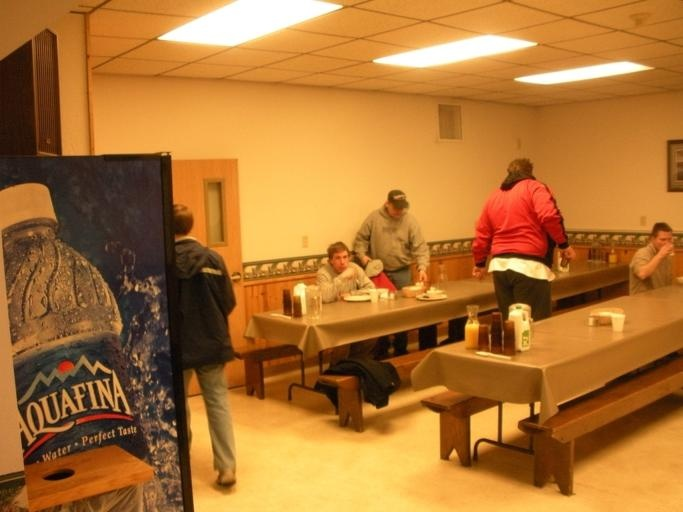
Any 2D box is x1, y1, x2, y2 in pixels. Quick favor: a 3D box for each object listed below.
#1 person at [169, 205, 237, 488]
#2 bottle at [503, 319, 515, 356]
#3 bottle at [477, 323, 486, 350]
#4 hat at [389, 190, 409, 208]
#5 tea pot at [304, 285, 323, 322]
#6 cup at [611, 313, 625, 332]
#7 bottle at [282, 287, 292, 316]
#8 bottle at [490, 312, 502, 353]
[{"bbox_3d":[-0.917,0.643,3.941,0.402,2.001,0.323,-6,6,-20],"label":"person"},{"bbox_3d":[1.081,0.533,3.613,0.081,0.212,0.079,-3,6,0],"label":"bottle"},{"bbox_3d":[0.949,0.535,3.763,0.071,0.160,0.161,-2,6,15],"label":"bottle"},{"bbox_3d":[0.691,-0.683,6.903,0.180,0.128,0.250,-3,12,-31],"label":"hat"},{"bbox_3d":[-0.249,0.411,4.982,0.150,0.261,0.326,-4,6,-4],"label":"tea pot"},{"bbox_3d":[2.007,0.492,4.142,0.125,0.129,0.119,5,0,0],"label":"cup"},{"bbox_3d":[-0.486,0.422,5.084,0.083,0.236,0.146,-4,6,-6],"label":"bottle"},{"bbox_3d":[1.007,0.499,3.657,0.083,0.251,0.082,-3,6,0],"label":"bottle"}]
